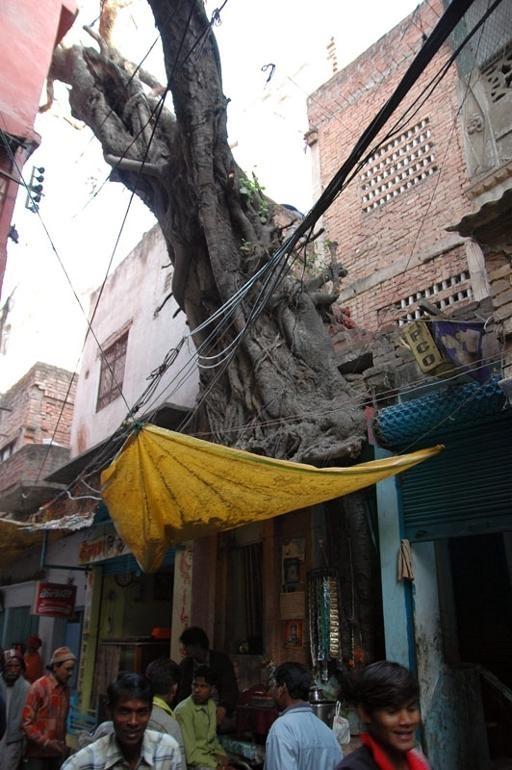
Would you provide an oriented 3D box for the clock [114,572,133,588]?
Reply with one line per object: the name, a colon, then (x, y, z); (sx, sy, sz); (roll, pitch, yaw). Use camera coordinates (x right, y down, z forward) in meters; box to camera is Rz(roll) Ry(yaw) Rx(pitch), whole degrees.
clock: (-2.439, 3.694, 9.463); (0.286, 0.251, 0.501); (13, -30, -30)
